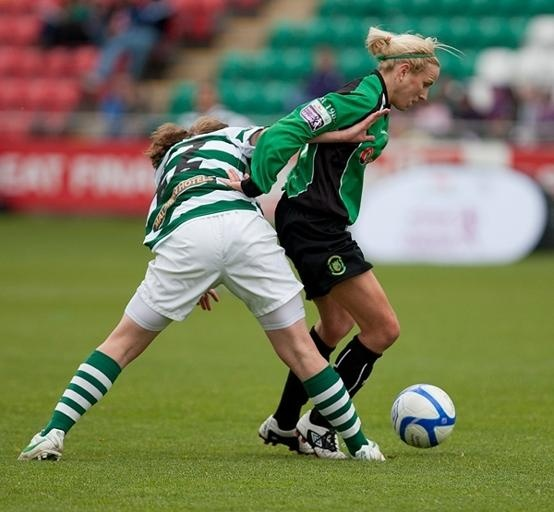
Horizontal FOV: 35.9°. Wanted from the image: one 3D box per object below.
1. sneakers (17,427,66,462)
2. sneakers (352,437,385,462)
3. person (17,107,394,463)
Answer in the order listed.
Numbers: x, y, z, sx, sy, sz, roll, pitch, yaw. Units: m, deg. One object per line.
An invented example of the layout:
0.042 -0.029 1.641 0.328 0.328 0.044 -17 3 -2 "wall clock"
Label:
-1.145 0.934 4.224 0.287 0.128 0.107 -17 -32 32 "sneakers"
0.478 1.001 4.367 0.071 0.075 0.184 -2 -2 26 "sneakers"
-0.339 0.184 4.344 1.702 1.690 0.392 0 4 0 "person"
